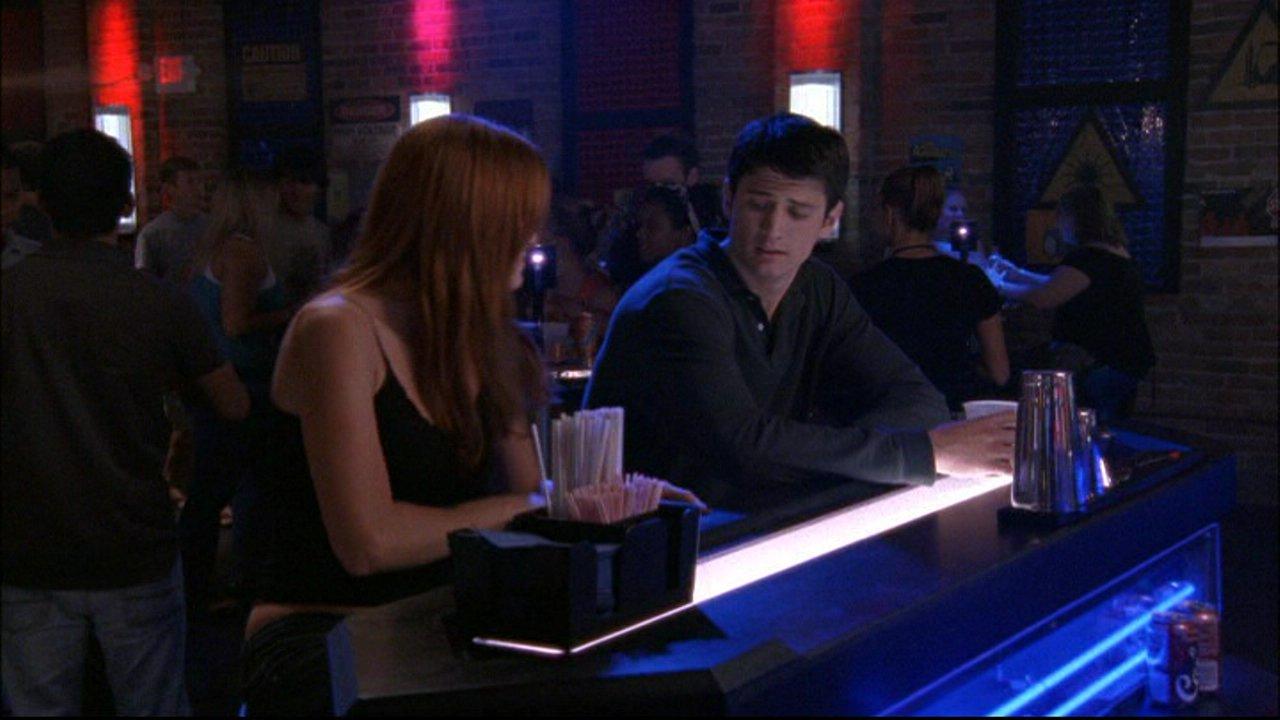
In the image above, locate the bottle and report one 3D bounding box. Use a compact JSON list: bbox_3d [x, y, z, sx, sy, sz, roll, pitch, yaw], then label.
[{"bbox_3d":[1.048,0.208,2.517,0.173,0.344,0.164,0,15,0],"label":"bottle"}]
